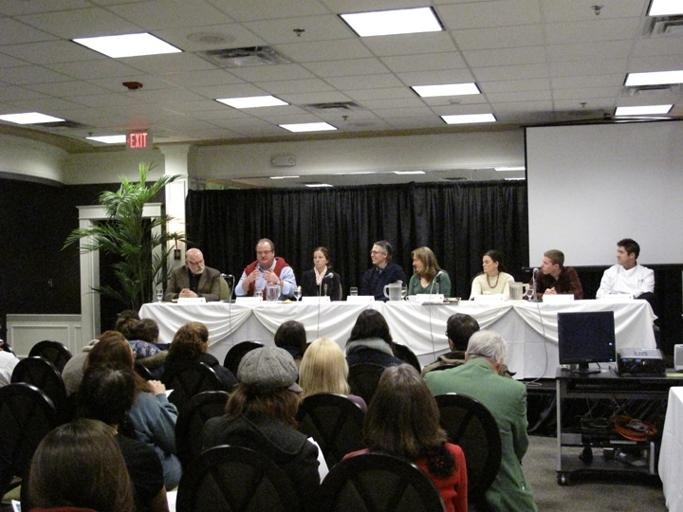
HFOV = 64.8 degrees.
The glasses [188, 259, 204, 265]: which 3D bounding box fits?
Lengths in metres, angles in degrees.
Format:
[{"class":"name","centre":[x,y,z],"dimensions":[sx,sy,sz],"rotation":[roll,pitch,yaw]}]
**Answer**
[{"class":"glasses","centre":[-1.877,0.083,6.927],"dimensions":[0.191,0.055,0.111],"rotation":[0,1,-25]}]

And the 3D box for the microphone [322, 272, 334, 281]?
[{"class":"microphone","centre":[-0.168,0.258,6.752],"dimensions":[0.101,0.052,0.080],"rotation":[-8,4,13]}]

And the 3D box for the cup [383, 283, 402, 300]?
[{"class":"cup","centre":[0.568,0.395,5.918],"dimensions":[0.207,0.233,0.134],"rotation":[-1,0,26]}]

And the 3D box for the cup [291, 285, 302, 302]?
[{"class":"cup","centre":[-0.532,0.461,6.409],"dimensions":[0.131,0.228,0.132],"rotation":[0,3,0]}]

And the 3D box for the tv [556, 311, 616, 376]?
[{"class":"tv","centre":[2.000,0.711,4.375],"dimensions":[0.451,0.490,0.173],"rotation":[0,-8,0]}]

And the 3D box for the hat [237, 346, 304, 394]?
[{"class":"hat","centre":[-0.284,0.439,2.222],"dimensions":[0.162,0.129,0.232],"rotation":[4,4,12]}]

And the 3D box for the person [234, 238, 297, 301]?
[{"class":"person","centre":[-0.909,0.164,6.600],"dimensions":[0.718,0.716,1.225],"rotation":[0,1,-24]}]

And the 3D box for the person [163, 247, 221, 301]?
[{"class":"person","centre":[-1.875,0.241,6.767],"dimensions":[0.691,0.655,0.824],"rotation":[0,1,-19]}]

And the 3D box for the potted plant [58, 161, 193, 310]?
[{"class":"potted plant","centre":[-3.934,-0.351,9.716],"dimensions":[1.808,2.635,2.456],"rotation":[0,1,-31]}]

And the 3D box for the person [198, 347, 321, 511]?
[{"class":"person","centre":[-0.317,0.718,2.181],"dimensions":[0.355,0.757,0.395],"rotation":[11,27,9]}]

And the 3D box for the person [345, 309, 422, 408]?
[{"class":"person","centre":[0.273,0.795,3.873],"dimensions":[0.521,0.926,0.529],"rotation":[-4,19,4]}]

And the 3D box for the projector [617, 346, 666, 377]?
[{"class":"projector","centre":[2.358,0.841,4.234],"dimensions":[0.345,0.192,0.175],"rotation":[0,1,9]}]

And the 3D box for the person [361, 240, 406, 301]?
[{"class":"person","centre":[0.482,0.188,6.894],"dimensions":[0.621,0.965,0.622],"rotation":[5,-4,-42]}]

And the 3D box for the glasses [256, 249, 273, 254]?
[{"class":"glasses","centre":[-0.943,-0.040,6.624],"dimensions":[0.181,0.074,0.130],"rotation":[0,1,-10]}]

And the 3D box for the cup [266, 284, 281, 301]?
[{"class":"cup","centre":[-0.780,0.416,6.116],"dimensions":[0.160,0.195,0.168],"rotation":[0,2,0]}]

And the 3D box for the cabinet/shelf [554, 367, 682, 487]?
[{"class":"cabinet/shelf","centre":[2.156,1.327,4.510],"dimensions":[1.120,1.057,0.795],"rotation":[0,-2,9]}]
